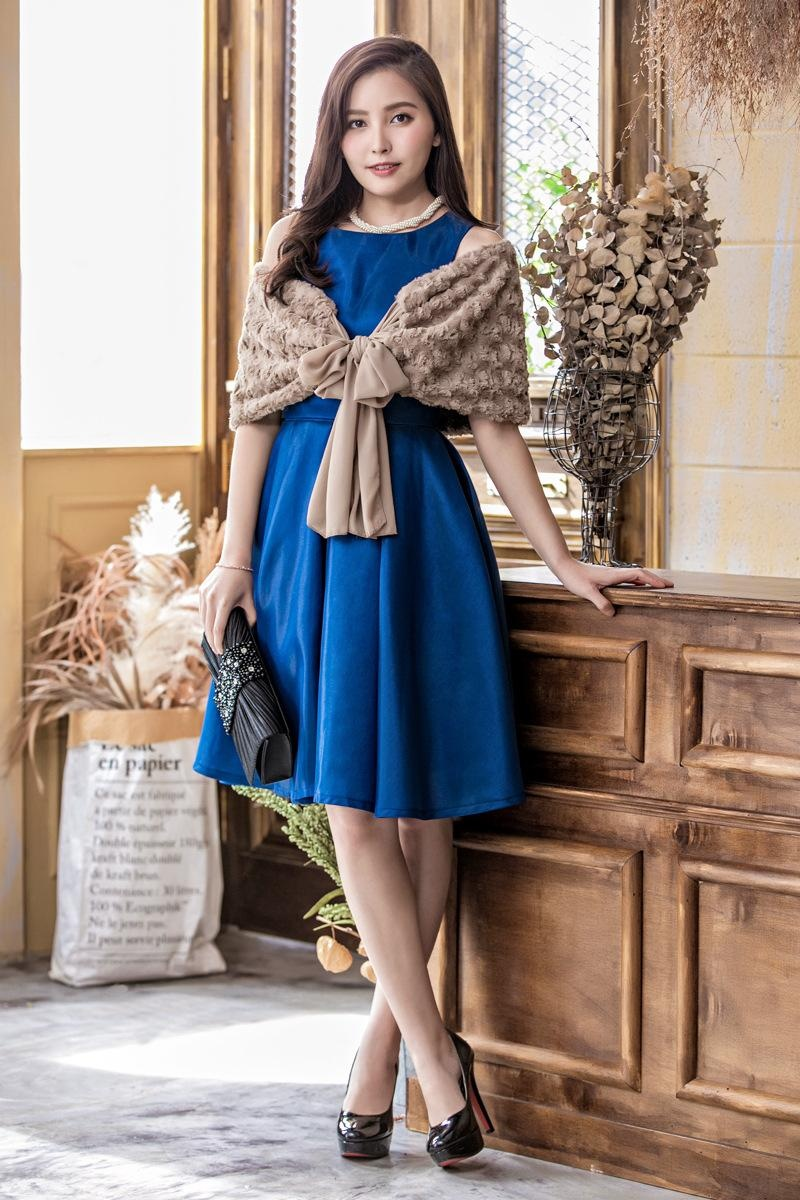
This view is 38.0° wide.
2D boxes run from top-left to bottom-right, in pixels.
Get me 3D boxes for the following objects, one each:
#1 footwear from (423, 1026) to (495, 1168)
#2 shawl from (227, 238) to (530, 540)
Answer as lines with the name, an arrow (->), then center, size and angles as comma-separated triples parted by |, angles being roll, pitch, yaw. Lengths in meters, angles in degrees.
footwear -> 0.071, 0.617, 1.505 | 0.066, 0.086, 0.198 | -32, 22, 20
shawl -> -0.038, -0.264, 1.422 | 0.391, 0.361, 0.188 | 1, 13, 10
